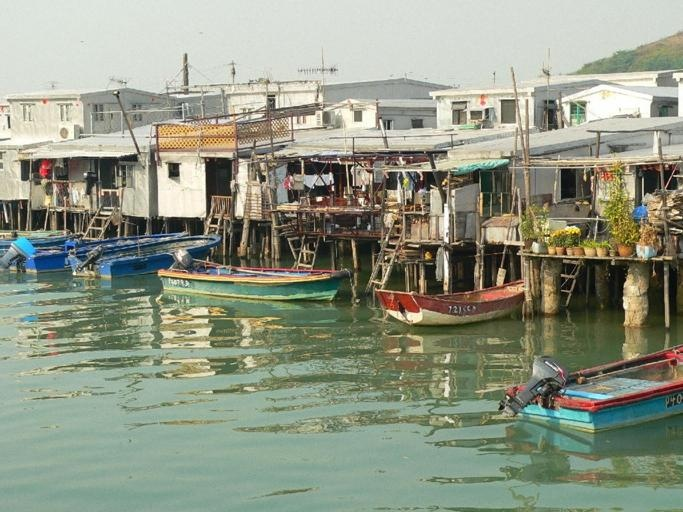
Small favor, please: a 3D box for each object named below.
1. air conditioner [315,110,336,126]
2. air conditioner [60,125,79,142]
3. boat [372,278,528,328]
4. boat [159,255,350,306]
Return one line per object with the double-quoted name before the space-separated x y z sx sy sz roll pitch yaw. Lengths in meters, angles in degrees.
"air conditioner" -0.719 -5.930 57.096 0.827 0.689 0.738 -4 -25 15
"air conditioner" -12.509 -5.690 59.747 0.354 0.509 1.467 -2 1 -43
"boat" 3.357 1.415 37.494 4.620 0.829 1.562 -5 5 -29
"boat" -3.503 0.968 42.462 7.899 1.392 2.019 0 7 21
